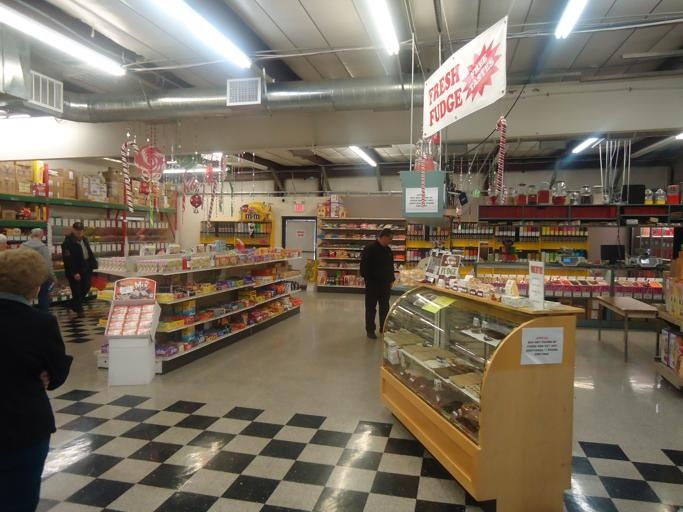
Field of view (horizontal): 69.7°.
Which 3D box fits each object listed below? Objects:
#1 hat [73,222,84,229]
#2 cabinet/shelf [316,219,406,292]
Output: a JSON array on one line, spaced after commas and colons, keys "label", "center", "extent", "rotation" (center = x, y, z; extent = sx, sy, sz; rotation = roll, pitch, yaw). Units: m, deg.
[{"label": "hat", "center": [-5.033, -0.568, 9.268], "extent": [0.154, 0.142, 0.216], "rotation": [-7, 13, -35]}, {"label": "cabinet/shelf", "center": [0.467, -0.055, 11.823], "extent": [1.988, 1.700, 0.632], "rotation": [1, 4, 9]}]
